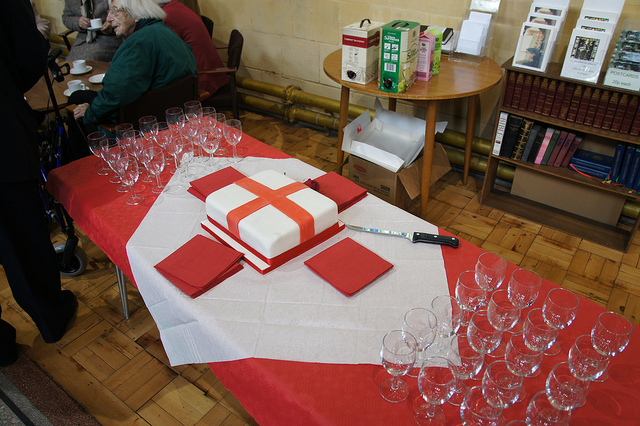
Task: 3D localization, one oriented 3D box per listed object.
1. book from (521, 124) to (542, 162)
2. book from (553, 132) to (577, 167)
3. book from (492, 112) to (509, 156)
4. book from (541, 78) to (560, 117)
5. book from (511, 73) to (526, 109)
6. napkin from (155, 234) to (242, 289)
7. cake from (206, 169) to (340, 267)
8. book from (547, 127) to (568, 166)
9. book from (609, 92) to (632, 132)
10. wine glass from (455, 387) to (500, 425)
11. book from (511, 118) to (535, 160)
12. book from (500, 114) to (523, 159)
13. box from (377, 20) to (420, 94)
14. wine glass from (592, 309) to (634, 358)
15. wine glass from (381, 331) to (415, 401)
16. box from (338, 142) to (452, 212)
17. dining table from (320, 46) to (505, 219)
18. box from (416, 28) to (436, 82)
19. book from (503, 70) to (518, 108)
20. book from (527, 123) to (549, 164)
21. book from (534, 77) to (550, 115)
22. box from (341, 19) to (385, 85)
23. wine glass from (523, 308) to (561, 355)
[{"bbox_3d":[1.607,-0.527,3.354,0.043,0.203,0.197,17,26,13],"label":"book"},{"bbox_3d":[1.834,-0.481,3.282,0.039,0.182,0.177,21,30,7],"label":"book"},{"bbox_3d":[1.404,-0.619,3.412,0.047,0.223,0.214,13,23,21],"label":"book"},{"bbox_3d":[1.663,-0.834,3.167,0.037,0.175,0.169,17,29,16],"label":"book"},{"bbox_3d":[1.478,-0.922,3.255,0.091,0.166,0.175,16,46,20],"label":"book"},{"bbox_3d":[-0.579,0.231,2.016,0.329,0.054,0.338,-29,44,-33],"label":"napkin"},{"bbox_3d":[-0.210,-0.068,2.022,0.434,0.127,0.457,-29,51,-33],"label":"cake"},{"bbox_3d":[1.793,-0.497,3.297,0.045,0.204,0.197,20,20,7],"label":"book"},{"bbox_3d":[2.081,-0.636,3.062,0.038,0.217,0.217,24,80,27],"label":"book"},{"bbox_3d":[0.568,0.691,1.569,0.105,0.098,0.124,-1,27,2],"label":"wine glass"},{"bbox_3d":[1.556,-0.571,3.371,0.048,0.232,0.212,20,18,23],"label":"book"},{"bbox_3d":[1.477,-0.586,3.387,0.054,0.257,0.243,12,18,17],"label":"book"},{"bbox_3d":[0.548,-1.084,3.047,0.199,0.398,0.336,17,43,27],"label":"box"},{"bbox_3d":[1.155,0.486,1.733,0.093,0.117,0.103,-15,34,-10],"label":"wine glass"},{"bbox_3d":[0.292,0.578,1.670,0.127,0.155,0.204,9,38,11],"label":"wine glass"},{"bbox_3d":[0.692,-0.383,3.444,0.598,0.302,0.613,34,54,27],"label":"box"},{"bbox_3d":[0.780,-0.929,3.977,1.514,1.229,1.568,12,49,12],"label":"dining table"},{"bbox_3d":[0.759,-1.131,3.148,0.113,0.346,0.198,19,49,21],"label":"box"},{"bbox_3d":[1.430,-0.936,3.272,0.098,0.179,0.190,18,52,17],"label":"book"},{"bbox_3d":[1.658,-0.522,3.340,0.047,0.218,0.209,21,21,18],"label":"book"},{"bbox_3d":[1.618,-0.852,3.191,0.037,0.177,0.169,10,1,14],"label":"book"},{"bbox_3d":[0.334,-1.230,3.297,0.205,0.408,0.374,17,34,24],"label":"box"},{"bbox_3d":[0.885,0.477,1.736,0.102,0.128,0.120,-6,40,0],"label":"wine glass"}]
